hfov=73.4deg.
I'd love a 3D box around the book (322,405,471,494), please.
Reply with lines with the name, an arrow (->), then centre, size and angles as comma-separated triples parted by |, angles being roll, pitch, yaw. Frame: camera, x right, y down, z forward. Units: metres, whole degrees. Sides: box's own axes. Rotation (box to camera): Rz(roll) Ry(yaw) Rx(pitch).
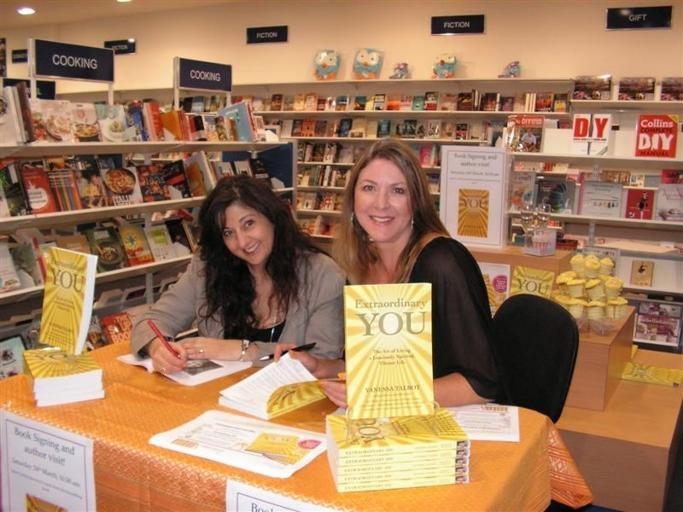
book -> 0.125, 0.439, 1.052 | 0.246, 0.076, 0.173 | -1, 11, -7
